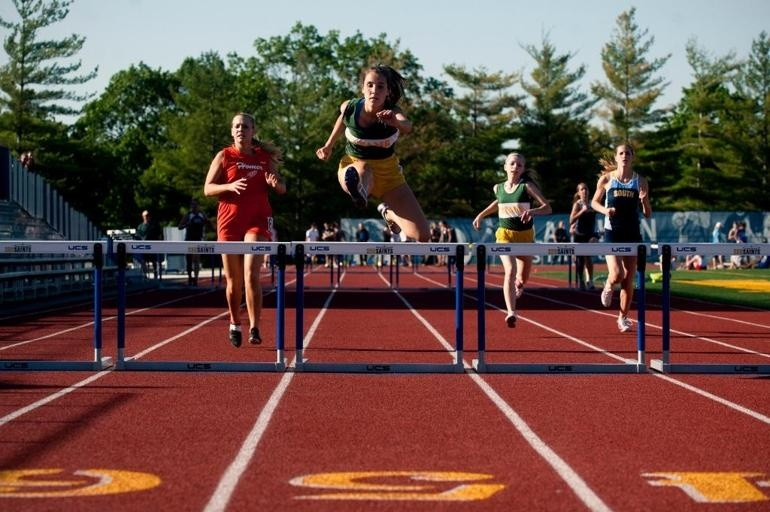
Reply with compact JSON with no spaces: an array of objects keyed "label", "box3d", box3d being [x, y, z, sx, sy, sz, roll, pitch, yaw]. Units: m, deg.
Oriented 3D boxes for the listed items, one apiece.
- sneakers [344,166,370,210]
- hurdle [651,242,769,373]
[{"label":"sneakers","box3d":[-0.316,-0.753,9.170,0.266,0.439,0.262,3,8,8]},{"label":"hurdle","box3d":[3.621,0.604,9.388,1.145,1.432,0.380,3,8,13]}]
